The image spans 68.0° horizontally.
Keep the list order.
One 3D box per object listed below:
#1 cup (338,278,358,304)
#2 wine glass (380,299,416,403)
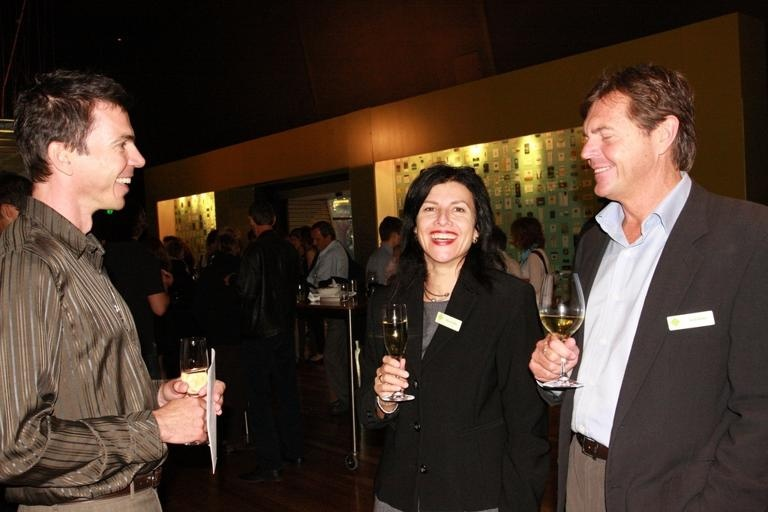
[{"bbox_3d":[-0.369,0.341,5.664,0.201,0.229,0.202,0,5,0],"label":"cup"},{"bbox_3d":[0.060,0.411,2.431,0.124,0.445,0.211,-4,3,3],"label":"wine glass"}]
